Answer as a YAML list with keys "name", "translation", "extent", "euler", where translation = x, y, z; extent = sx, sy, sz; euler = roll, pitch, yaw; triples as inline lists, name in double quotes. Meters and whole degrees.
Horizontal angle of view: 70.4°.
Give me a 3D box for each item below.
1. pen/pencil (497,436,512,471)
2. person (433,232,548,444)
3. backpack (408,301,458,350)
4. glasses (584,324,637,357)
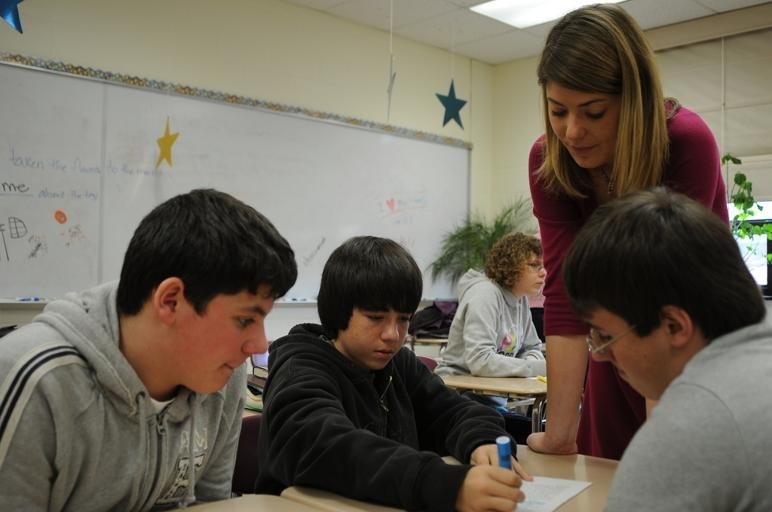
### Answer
- name: "pen/pencil"
  translation: [0.285, 0.484, 1.324]
  extent: [0.024, 0.024, 0.095]
  euler: [-3, -44, 5]
- name: "person"
  translation: [0.771, 0.464, 3.239]
  extent: [0.753, 1.143, 0.814]
  euler: [8, -3, -8]
- name: "backpack"
  translation: [0.404, 0.601, 4.638]
  extent: [0.370, 0.131, 0.378]
  euler: [-3, 17, 12]
- name: "glasses"
  translation: [0.448, 0.176, 1.109]
  extent: [0.063, 0.020, 0.062]
  euler: [-27, -4, -7]
